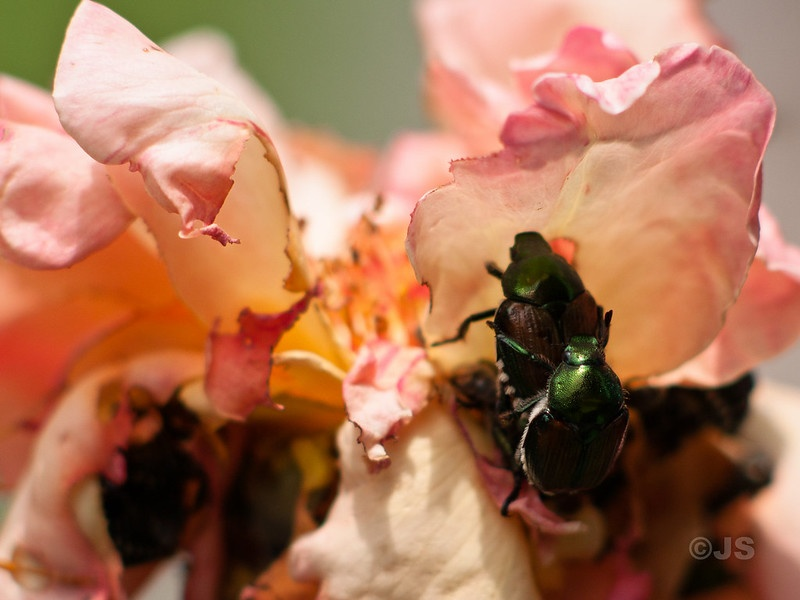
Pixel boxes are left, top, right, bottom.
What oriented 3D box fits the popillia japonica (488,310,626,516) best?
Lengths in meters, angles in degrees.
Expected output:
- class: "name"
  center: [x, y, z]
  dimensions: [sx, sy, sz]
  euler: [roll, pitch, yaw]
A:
- class: "popillia japonica"
  center: [0.104, 0.073, 0.543]
  dimensions: [0.083, 0.104, 0.029]
  euler: [-6, 14, -35]
